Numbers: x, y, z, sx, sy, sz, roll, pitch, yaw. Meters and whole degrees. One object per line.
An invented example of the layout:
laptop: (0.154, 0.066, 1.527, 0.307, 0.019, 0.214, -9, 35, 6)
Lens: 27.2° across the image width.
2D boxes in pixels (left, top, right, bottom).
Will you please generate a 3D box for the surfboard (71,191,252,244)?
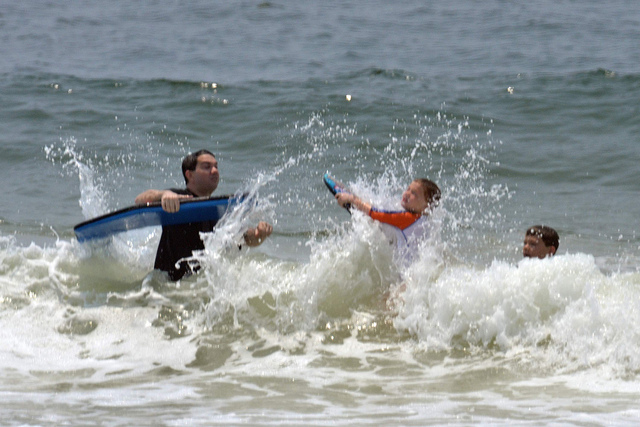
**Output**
surfboard: (-3.408, 0.135, 28.801, 3.770, 1.459, 0.456, 4, 25, 3)

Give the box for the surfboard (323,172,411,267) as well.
surfboard: (1.019, 0.191, 29.641, 3.135, 0.455, 0.175, 46, 23, 15)

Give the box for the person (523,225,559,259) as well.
person: (4.978, 0.702, 29.866, 0.783, 0.910, 0.787, 9, -2, 17)
